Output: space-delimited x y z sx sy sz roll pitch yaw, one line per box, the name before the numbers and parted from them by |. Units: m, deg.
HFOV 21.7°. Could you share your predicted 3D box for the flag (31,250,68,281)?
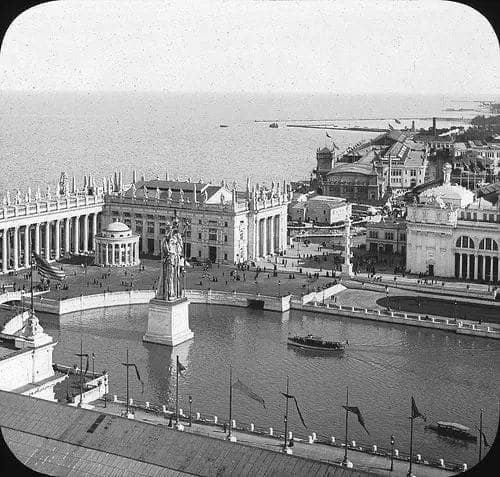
flag | -13.876 1.920 89.603 1.868 0.552 4.756 21 -5 -29
